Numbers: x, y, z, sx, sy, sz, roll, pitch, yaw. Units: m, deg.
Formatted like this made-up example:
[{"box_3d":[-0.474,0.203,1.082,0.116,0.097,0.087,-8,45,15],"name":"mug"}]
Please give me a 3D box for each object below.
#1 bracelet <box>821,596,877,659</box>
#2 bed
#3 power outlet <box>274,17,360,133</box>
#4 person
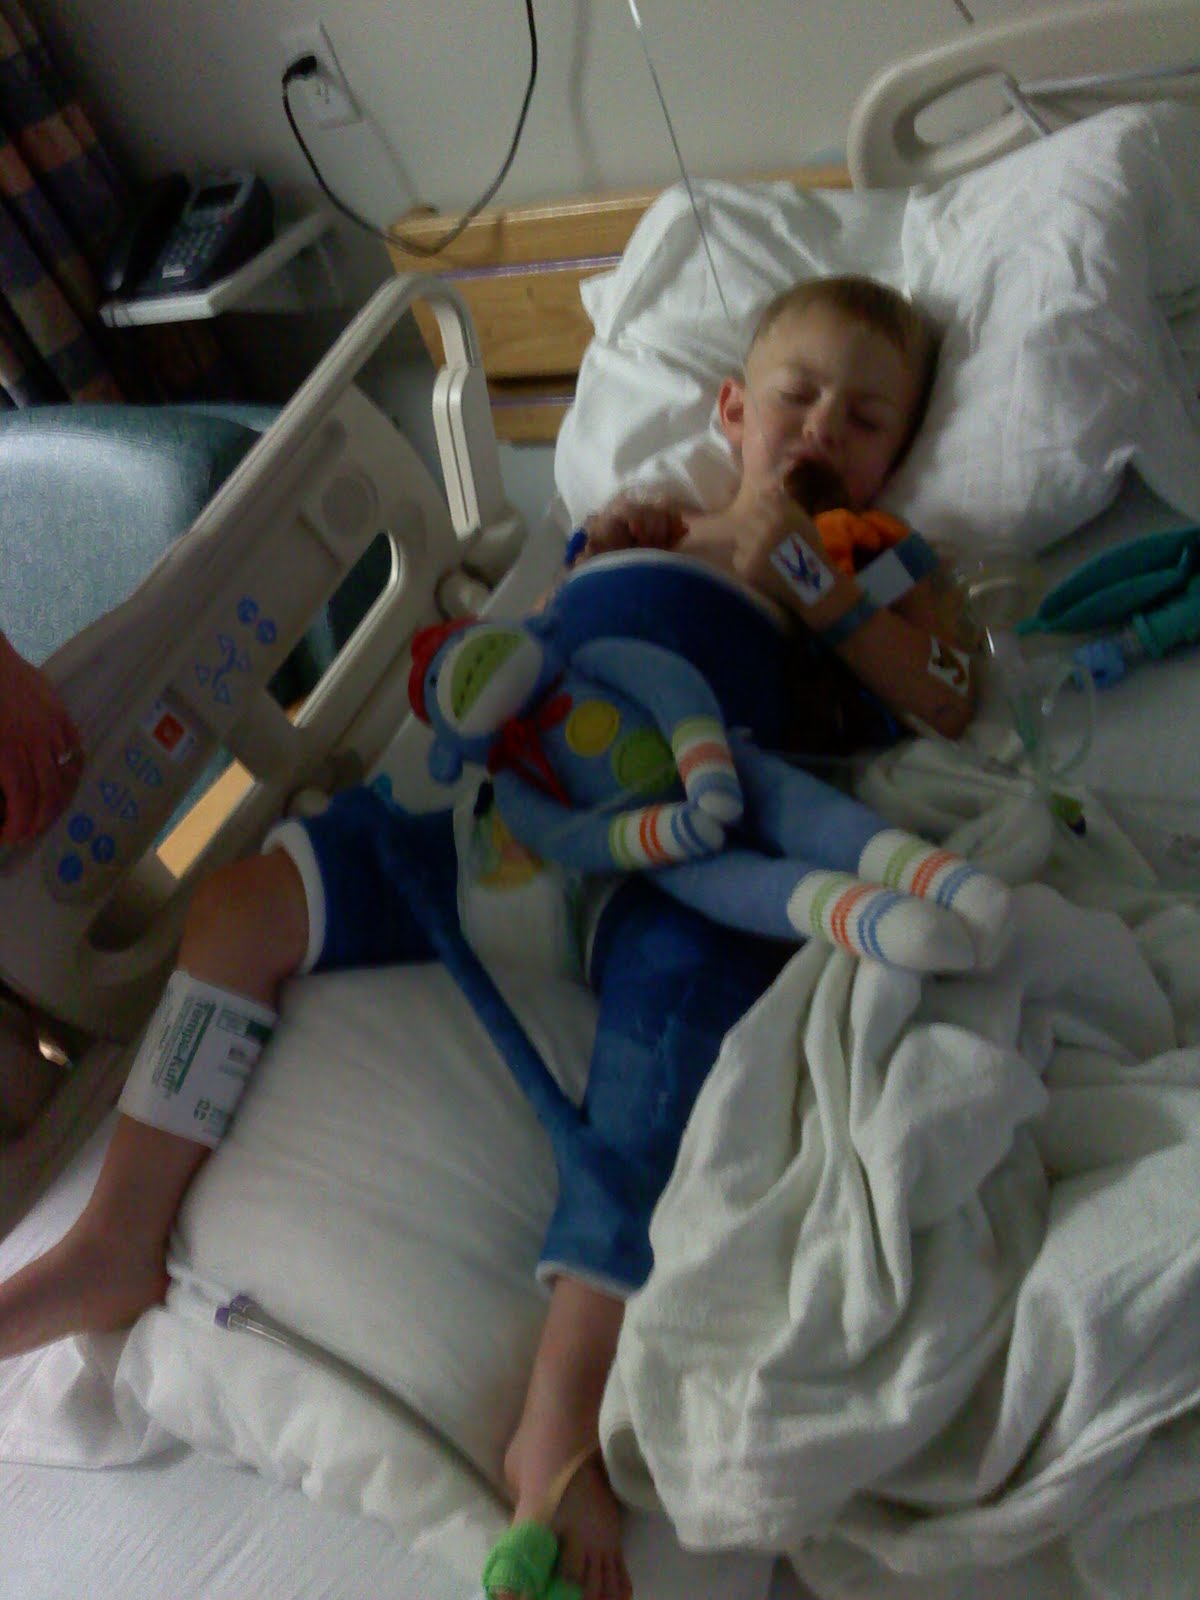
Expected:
[{"box_3d":[0.233,-0.158,1.132,0.044,0.017,0.040,-46,7,26],"name":"bracelet"},{"box_3d":[0.176,-0.066,1.463,0.776,0.741,1.792,16,66,33],"name":"bed"},{"box_3d":[-0.562,-1.414,2.356,0.099,0.183,0.027,-11,54,5],"name":"power outlet"},{"box_3d":[0.066,0.109,1.218,0.598,0.482,1.150,21,65,26],"name":"person"}]
